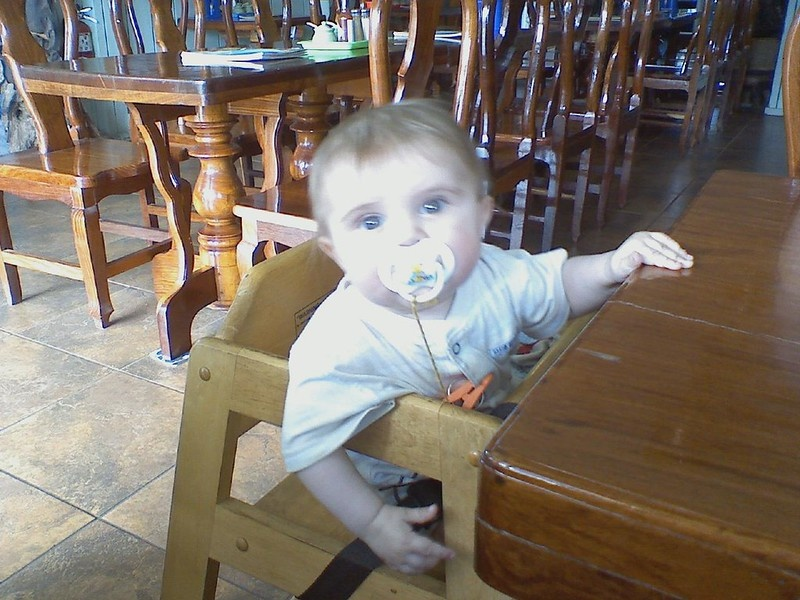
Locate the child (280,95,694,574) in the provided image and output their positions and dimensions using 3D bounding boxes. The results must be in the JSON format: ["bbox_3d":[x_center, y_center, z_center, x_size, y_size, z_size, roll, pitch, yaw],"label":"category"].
[{"bbox_3d":[0.096,0.076,0.870,0.554,0.647,0.363,-24,28,-24],"label":"child"}]

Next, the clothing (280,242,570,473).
[{"bbox_3d":[0.010,0.066,0.726,0.291,0.219,0.138,-27,55,-22],"label":"clothing"}]

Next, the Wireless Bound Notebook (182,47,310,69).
[{"bbox_3d":[-0.542,-0.807,2.002,0.399,0.034,0.517,0,27,0],"label":"Wireless Bound Notebook"}]
